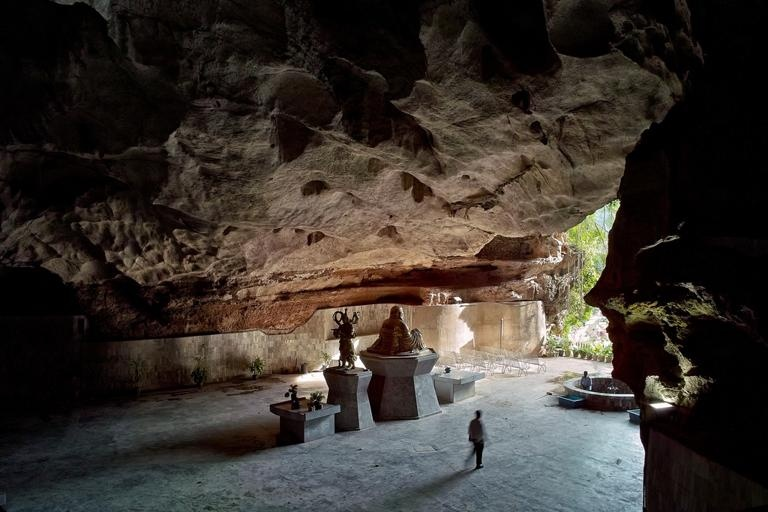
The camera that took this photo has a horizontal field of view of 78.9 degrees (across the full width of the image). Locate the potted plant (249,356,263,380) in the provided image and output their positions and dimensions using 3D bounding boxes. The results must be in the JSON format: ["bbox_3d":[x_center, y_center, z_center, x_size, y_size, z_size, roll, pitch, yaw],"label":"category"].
[{"bbox_3d":[-3.949,3.408,14.233,0.346,0.645,0.320,2,0,-21],"label":"potted plant"}]

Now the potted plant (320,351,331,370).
[{"bbox_3d":[-1.980,3.487,15.625,0.343,0.547,0.505,1,0,3],"label":"potted plant"}]

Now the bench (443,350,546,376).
[{"bbox_3d":[3.760,3.864,17.023,2.434,0.307,3.757,2,-1,-35],"label":"bench"}]

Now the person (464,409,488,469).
[{"bbox_3d":[1.695,3.244,8.665,0.315,0.853,0.937,1,0,12],"label":"person"}]
